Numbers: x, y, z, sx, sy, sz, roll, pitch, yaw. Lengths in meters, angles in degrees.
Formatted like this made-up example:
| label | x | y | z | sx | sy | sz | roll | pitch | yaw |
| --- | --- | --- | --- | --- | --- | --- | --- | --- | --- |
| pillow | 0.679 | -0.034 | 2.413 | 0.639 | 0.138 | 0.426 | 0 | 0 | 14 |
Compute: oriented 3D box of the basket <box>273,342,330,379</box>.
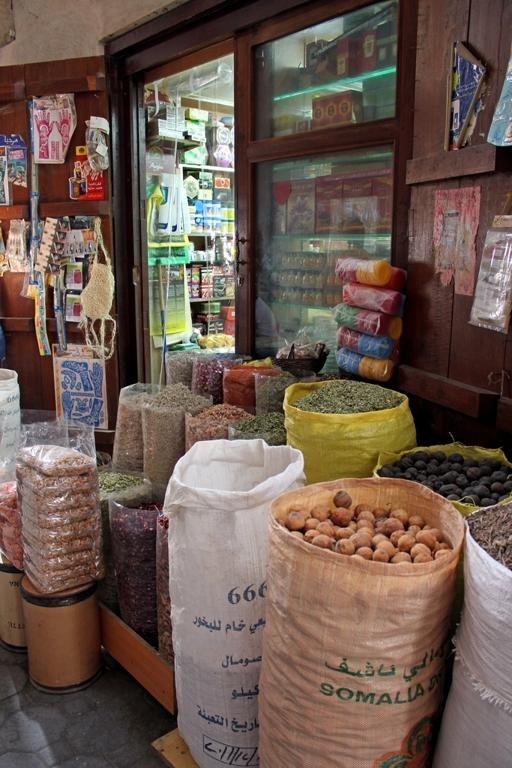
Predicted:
| label | x | y | z | sx | sy | sz | roll | pitch | yaw |
| --- | --- | --- | --- | --- | --- | --- | --- | --- | --- |
| basket | 0.218 | -0.108 | 2.634 | 0.181 | 0.109 | 0.179 | -3 | 5 | 33 |

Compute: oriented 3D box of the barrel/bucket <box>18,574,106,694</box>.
| label | x | y | z | sx | sy | sz | roll | pitch | yaw |
| --- | --- | --- | --- | --- | --- | --- | --- | --- | --- |
| barrel/bucket | -0.670 | 0.858 | 2.025 | 0.263 | 0.356 | 0.193 | -2 | 5 | -17 |

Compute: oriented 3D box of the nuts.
| label | x | y | z | sx | sy | sz | roll | pitch | yaw |
| --- | --- | --- | --- | --- | --- | --- | --- | --- | --- |
| nuts | 0.321 | 0.289 | 1.310 | 0.343 | 0.139 | 0.271 | -12 | 12 | -40 |
